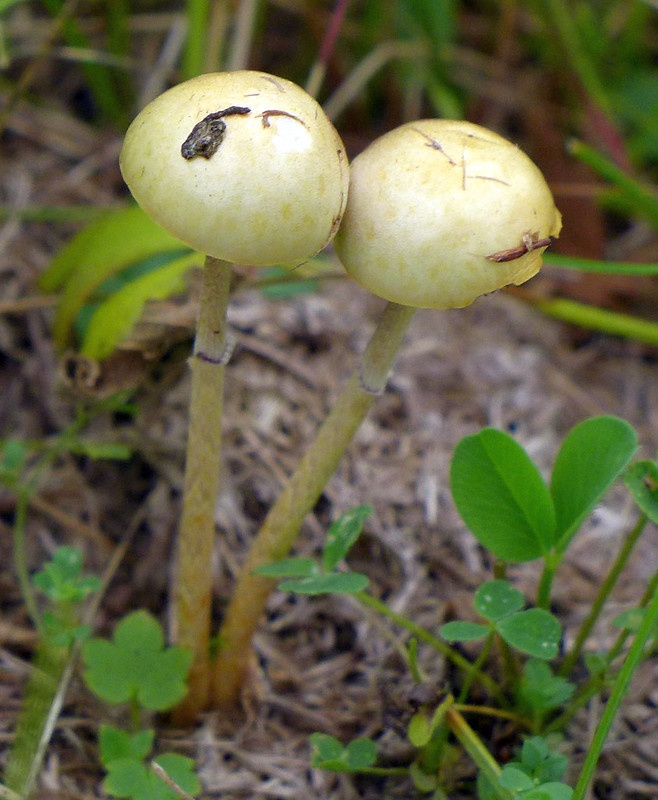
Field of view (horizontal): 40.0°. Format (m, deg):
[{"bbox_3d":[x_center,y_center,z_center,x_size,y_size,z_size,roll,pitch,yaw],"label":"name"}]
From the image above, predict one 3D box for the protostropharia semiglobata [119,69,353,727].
[{"bbox_3d":[-0.148,0.002,1.280,0.287,0.835,0.552,0,48,-13],"label":"protostropharia semiglobata"}]
